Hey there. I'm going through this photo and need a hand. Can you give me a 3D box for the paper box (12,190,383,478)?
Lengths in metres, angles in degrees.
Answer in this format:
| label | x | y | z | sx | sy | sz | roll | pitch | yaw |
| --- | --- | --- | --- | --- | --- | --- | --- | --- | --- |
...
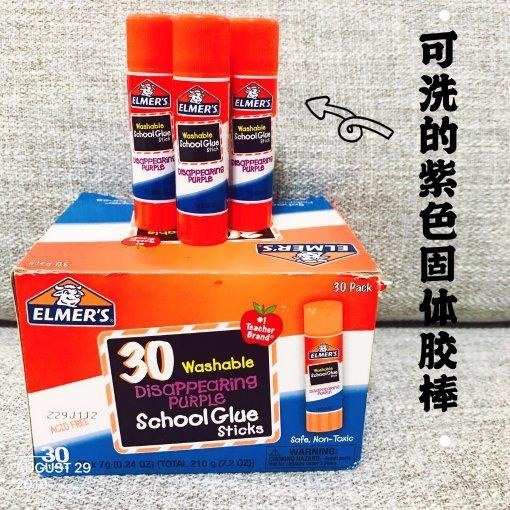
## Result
| label | x | y | z | sx | sy | sz | roll | pitch | yaw |
| --- | --- | --- | --- | --- | --- | --- | --- | --- | --- |
| paper box | -0.071 | 0.112 | 0.792 | 0.543 | 0.243 | 0.319 | 0 | 24 | -2 |
